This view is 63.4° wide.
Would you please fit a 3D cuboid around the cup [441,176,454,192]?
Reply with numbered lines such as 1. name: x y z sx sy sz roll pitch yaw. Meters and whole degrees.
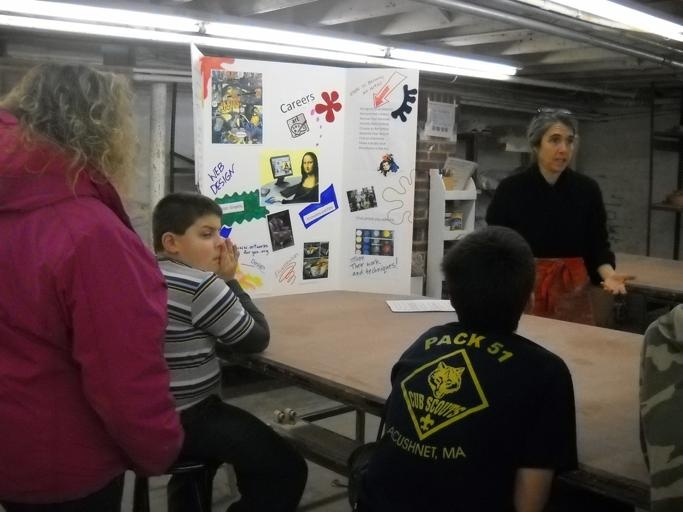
1. cup: 1.062 -0.734 5.510 0.140 0.152 0.137 0 6 0

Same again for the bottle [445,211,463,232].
1. bottle: 1.127 -0.359 5.569 0.184 0.203 0.182 0 1 14
